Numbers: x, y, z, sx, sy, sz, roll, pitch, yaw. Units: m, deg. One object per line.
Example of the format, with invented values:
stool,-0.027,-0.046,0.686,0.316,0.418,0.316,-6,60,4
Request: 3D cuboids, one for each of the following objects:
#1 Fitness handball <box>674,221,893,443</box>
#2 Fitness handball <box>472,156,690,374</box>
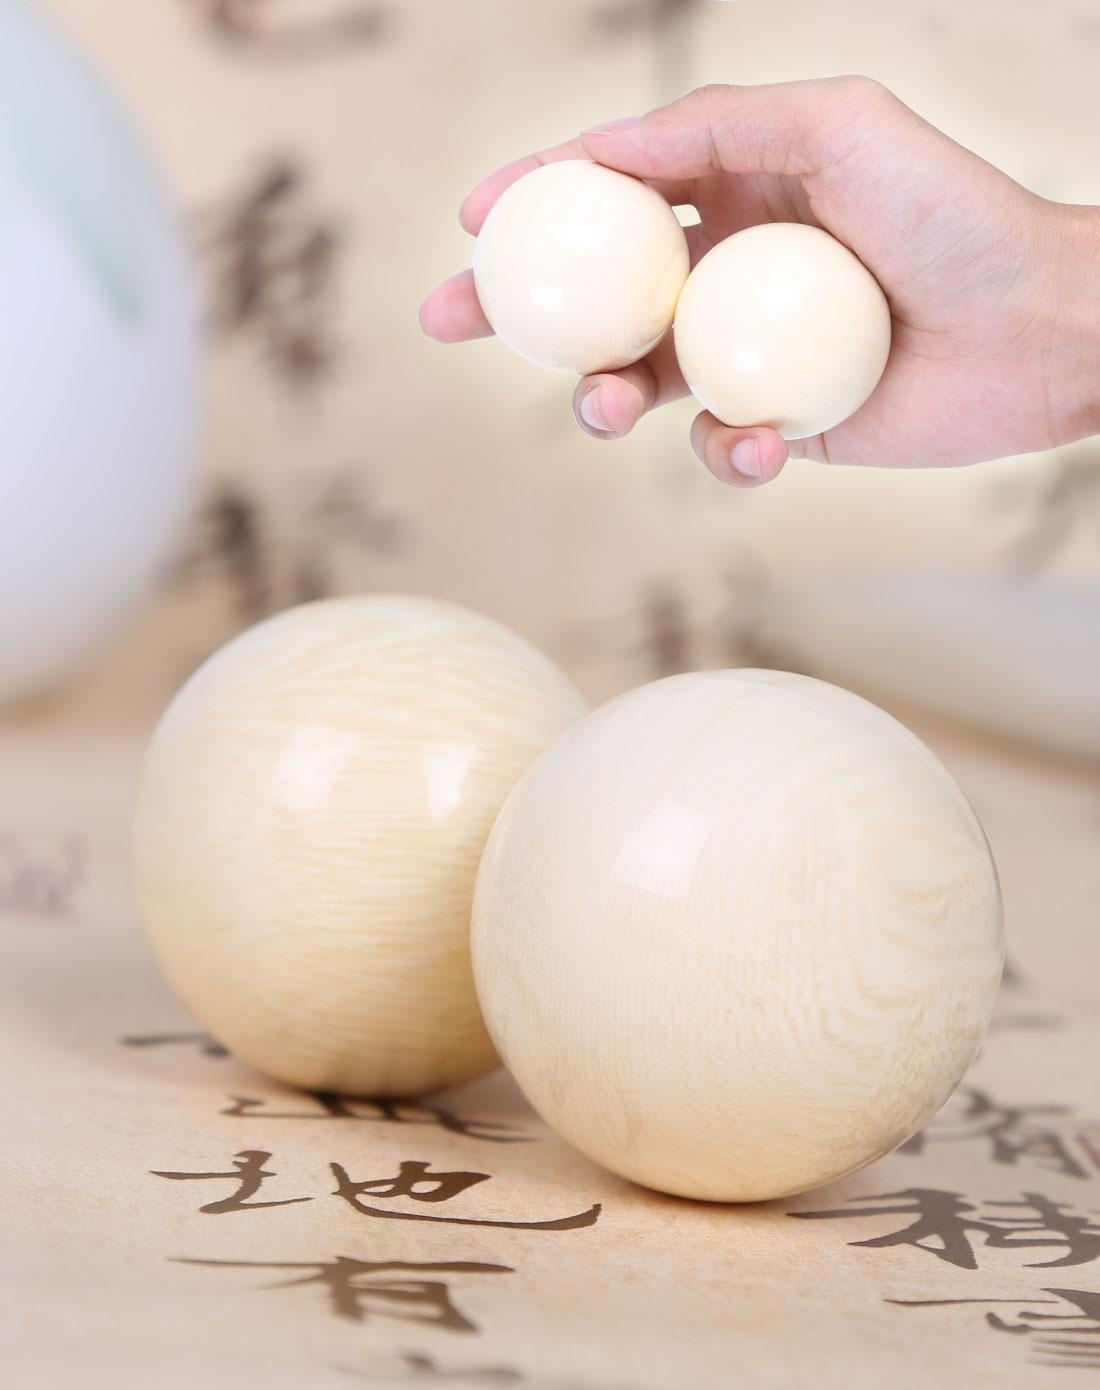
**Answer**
Fitness handball,0.131,-0.207,0.864,0.096,0.098,0.108,25,63,23
Fitness handball,0.046,-0.243,0.908,0.147,0.126,0.126,0,92,7
